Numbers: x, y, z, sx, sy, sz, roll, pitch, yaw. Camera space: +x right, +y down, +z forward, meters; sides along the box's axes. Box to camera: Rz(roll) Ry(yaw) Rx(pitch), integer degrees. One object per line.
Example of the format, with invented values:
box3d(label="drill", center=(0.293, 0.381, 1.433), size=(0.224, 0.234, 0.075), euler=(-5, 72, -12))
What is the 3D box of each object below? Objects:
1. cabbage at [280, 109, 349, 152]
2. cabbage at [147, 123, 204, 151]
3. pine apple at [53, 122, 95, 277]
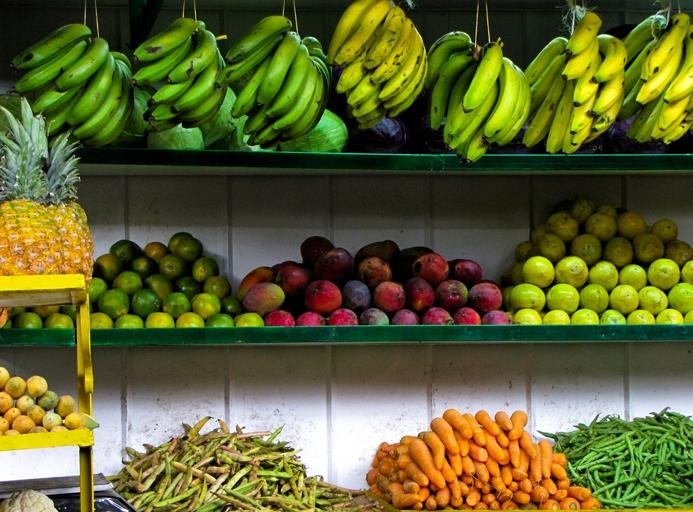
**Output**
box3d(label="cabbage", center=(-0.102, -0.518, 3.223), size=(0.168, 0.153, 0.231), euler=(-3, -3, 11))
box3d(label="cabbage", center=(-0.737, -0.470, 3.117), size=(0.155, 0.107, 0.136), euler=(-7, -12, 10))
box3d(label="pine apple", center=(-1.031, -0.180, 2.714), size=(0.135, 0.625, 0.201), euler=(-2, 9, -11))
